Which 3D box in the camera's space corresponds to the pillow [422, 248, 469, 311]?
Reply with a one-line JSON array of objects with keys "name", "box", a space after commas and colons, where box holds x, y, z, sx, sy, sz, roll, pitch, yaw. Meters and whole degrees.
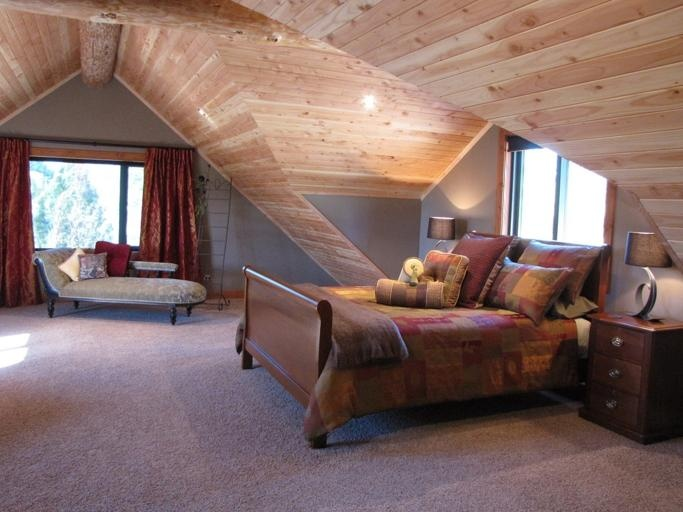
[{"name": "pillow", "box": [0.833, 0.177, 3.788, 0.165, 0.396, 0.437, 14, -4, -36]}]

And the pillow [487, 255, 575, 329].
[{"name": "pillow", "box": [1.478, 0.280, 3.506, 0.167, 0.401, 0.580, 31, 0, -11]}]

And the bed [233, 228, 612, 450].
[{"name": "bed", "box": [0.507, 0.526, 3.723, 2.188, 0.885, 1.836, -4, 8, -27]}]

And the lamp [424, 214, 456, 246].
[{"name": "lamp", "box": [1.051, -0.279, 5.087, 0.316, 0.304, 0.291, 0, 9, -21]}]

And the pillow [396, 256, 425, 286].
[{"name": "pillow", "box": [0.526, 0.117, 3.840, 0.229, 0.205, 0.229, -5, 13, 22]}]

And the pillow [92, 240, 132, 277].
[{"name": "pillow", "box": [-2.833, 0.043, 5.867, 0.471, 0.411, 0.195, 6, -6, -21]}]

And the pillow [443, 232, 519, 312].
[{"name": "pillow", "box": [1.115, 0.097, 3.839, 0.190, 0.547, 0.612, 27, -7, -27]}]

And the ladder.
[{"name": "ladder", "box": [-1.802, -0.368, 6.763, 0.497, 1.943, 0.302, -1, 11, -13]}]

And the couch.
[{"name": "couch", "box": [-2.478, 0.324, 5.524, 1.950, 0.662, 0.887, 1, 3, -1]}]
